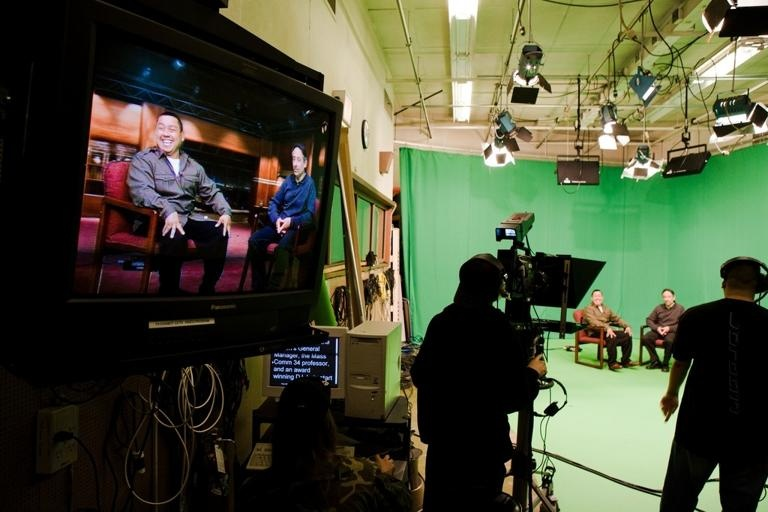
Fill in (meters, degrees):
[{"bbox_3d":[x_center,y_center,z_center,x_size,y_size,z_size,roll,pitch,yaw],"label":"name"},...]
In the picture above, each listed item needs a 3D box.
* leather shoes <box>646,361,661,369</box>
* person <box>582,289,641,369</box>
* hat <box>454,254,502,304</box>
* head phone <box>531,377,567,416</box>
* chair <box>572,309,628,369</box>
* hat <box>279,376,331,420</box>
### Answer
[{"bbox_3d":[3.648,1.482,7.724,0.233,0.104,0.089,3,-2,-12],"label":"leather shoes"},{"bbox_3d":[3.075,1.000,7.871,0.703,1.037,0.737,3,-3,2],"label":"person"},{"bbox_3d":[0.507,0.145,3.253,0.229,0.293,0.289,20,-10,1],"label":"hat"},{"bbox_3d":[1.153,1.014,3.907,0.223,0.233,0.229,20,-26,-10],"label":"head phone"},{"bbox_3d":[2.860,1.144,7.950,0.537,0.696,0.531,5,0,1],"label":"chair"},{"bbox_3d":[-0.405,0.760,3.041,0.167,0.227,0.240,-2,-25,13],"label":"hat"}]
